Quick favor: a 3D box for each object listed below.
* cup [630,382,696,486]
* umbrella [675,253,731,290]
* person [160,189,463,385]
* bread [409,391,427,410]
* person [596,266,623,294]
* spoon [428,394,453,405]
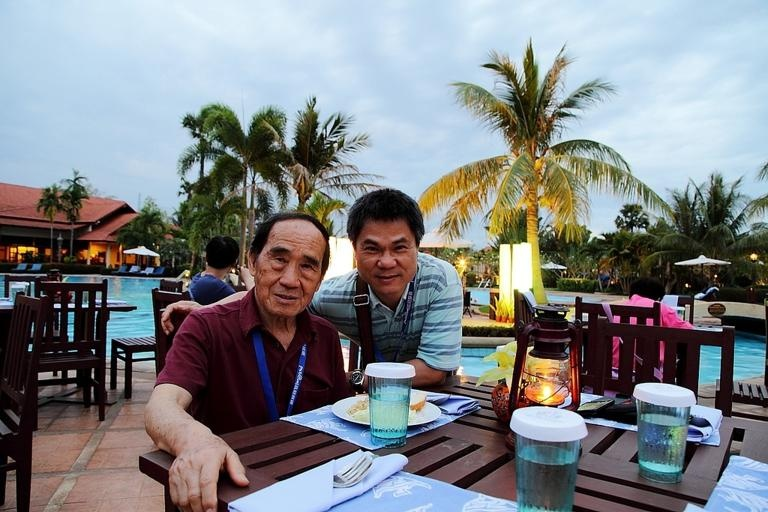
[{"bbox_3d":[1.216,0.765,2.201,0.332,0.447,0.344,1,-5,0],"label":"cup"},{"bbox_3d":[14.685,0.758,22.026,1.546,0.758,1.607,-1,7,12],"label":"umbrella"},{"bbox_3d":[-0.146,0.235,3.426,1.079,1.549,1.817,6,3,40],"label":"person"},{"bbox_3d":[0.159,0.721,2.401,0.066,0.026,0.073,1,1,41],"label":"bread"},{"bbox_3d":[13.919,1.599,29.791,1.440,1.512,0.669,0,-35,30],"label":"person"},{"bbox_3d":[0.290,0.768,2.587,0.043,0.034,0.221,6,-3,-27],"label":"spoon"}]
